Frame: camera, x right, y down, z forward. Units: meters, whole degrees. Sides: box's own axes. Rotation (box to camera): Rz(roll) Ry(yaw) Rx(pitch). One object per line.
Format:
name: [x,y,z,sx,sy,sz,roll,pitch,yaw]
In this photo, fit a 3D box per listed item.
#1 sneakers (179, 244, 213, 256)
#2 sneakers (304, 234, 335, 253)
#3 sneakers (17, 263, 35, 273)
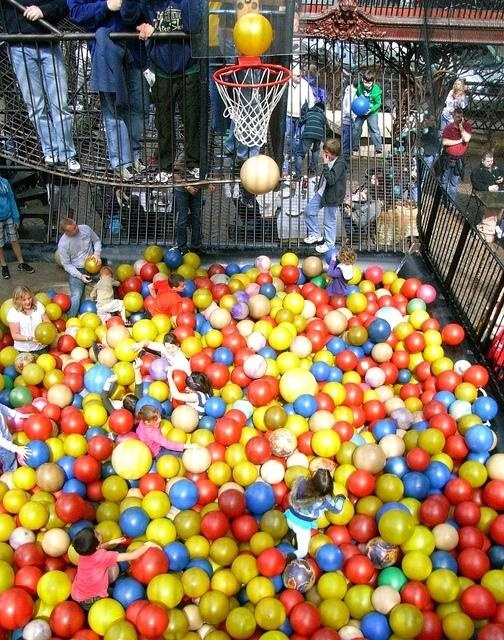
sneakers: [-0.665,-0.839,6.447,0.393,0.163,0.136,-4,18,-11]
sneakers: [0.806,-0.895,6.402,0.202,0.164,0.436,-13,32,-24]
sneakers: [-2.524,-0.578,6.061,0.173,0.080,0.080,7,24,1]
